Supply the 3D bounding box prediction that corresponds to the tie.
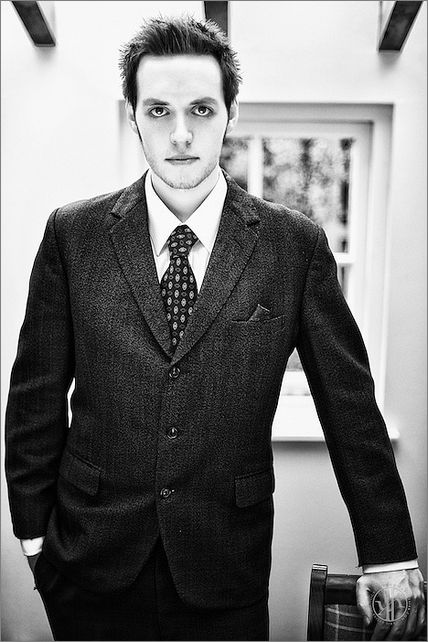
[{"bbox_3d":[-0.062,-0.064,1.013,0.065,0.201,0.115,0,14,-4],"label":"tie"}]
